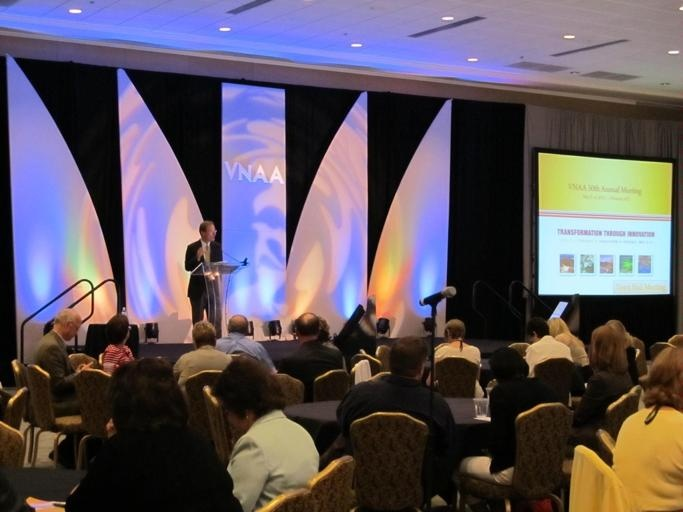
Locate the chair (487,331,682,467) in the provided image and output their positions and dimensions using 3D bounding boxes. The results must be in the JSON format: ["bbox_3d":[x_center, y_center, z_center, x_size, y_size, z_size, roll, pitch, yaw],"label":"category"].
[{"bbox_3d":[1.706,1.131,4.660,0.827,1.337,0.910,-4,5,-44],"label":"chair"}]

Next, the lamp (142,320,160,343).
[{"bbox_3d":[-2.808,1.146,9.819,0.168,0.337,0.305,3,4,43],"label":"lamp"}]

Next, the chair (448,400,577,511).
[{"bbox_3d":[1.195,1.258,4.515,0.611,0.985,0.703,1,-2,-22],"label":"chair"}]

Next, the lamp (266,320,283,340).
[{"bbox_3d":[-1.065,1.162,10.570,0.218,0.327,0.306,-3,-3,21],"label":"lamp"}]

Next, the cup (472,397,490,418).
[{"bbox_3d":[0.995,1.084,4.726,0.104,0.128,0.111,-1,-3,0],"label":"cup"}]

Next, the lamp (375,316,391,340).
[{"bbox_3d":[0.712,1.219,11.176,0.258,0.351,0.285,0,-3,4],"label":"lamp"}]
